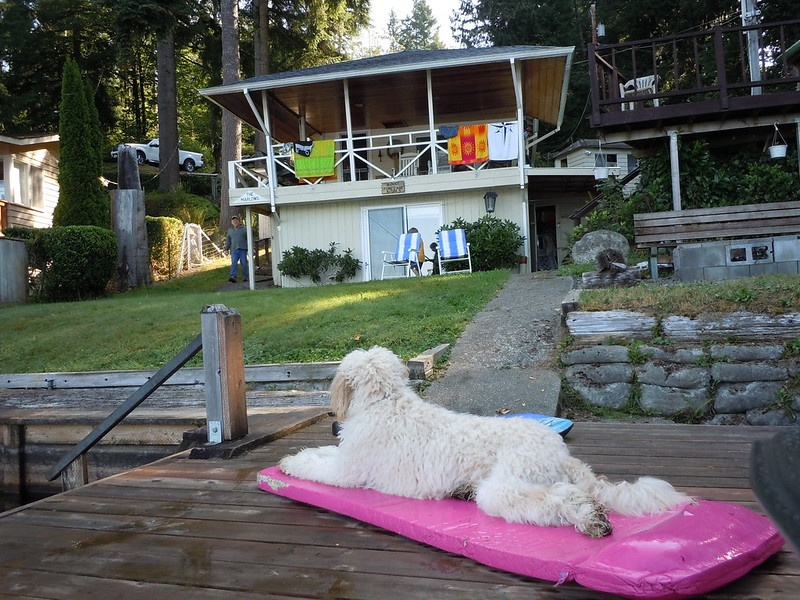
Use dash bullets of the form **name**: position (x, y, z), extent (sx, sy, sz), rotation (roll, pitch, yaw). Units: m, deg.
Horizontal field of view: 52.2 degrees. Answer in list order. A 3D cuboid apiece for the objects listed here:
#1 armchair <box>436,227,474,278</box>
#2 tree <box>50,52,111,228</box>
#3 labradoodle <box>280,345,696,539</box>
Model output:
- **armchair**: position (1.120, -1.081, 17.439), extent (0.670, 1.001, 0.989), rotation (-2, 8, 3)
- **tree**: position (-8.328, -4.102, 21.001), extent (1.119, 4.451, 1.533), rotation (-2, 2, -6)
- **labradoodle**: position (0.645, 0.967, 6.280), extent (2.222, 0.843, 1.282), rotation (1, 0, 28)
